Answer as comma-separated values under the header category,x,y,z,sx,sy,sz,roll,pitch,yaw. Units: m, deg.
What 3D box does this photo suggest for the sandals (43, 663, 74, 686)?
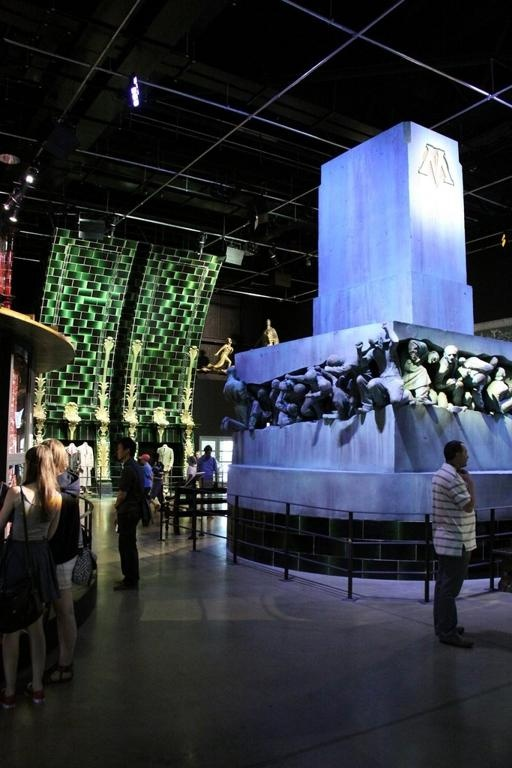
category,x,y,z,sx,sy,sz,roll,pitch,yaw
sandals,-1.126,1.673,3.379,0.137,0.089,0.072,9,-20,-2

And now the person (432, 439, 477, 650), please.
category,x,y,z,sx,sy,sz,roll,pitch,yaw
person,1.462,1.167,4.390,0.304,1.468,0.364,-1,-5,16

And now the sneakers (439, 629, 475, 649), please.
category,x,y,z,sx,sy,sz,roll,pitch,yaw
sneakers,1.450,1.846,4.255,0.234,0.172,0.084,-10,-12,23

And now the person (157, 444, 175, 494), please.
category,x,y,z,sx,sy,sz,roll,pitch,yaw
person,-3.695,3.371,23.699,0.679,1.877,0.501,3,-2,8
